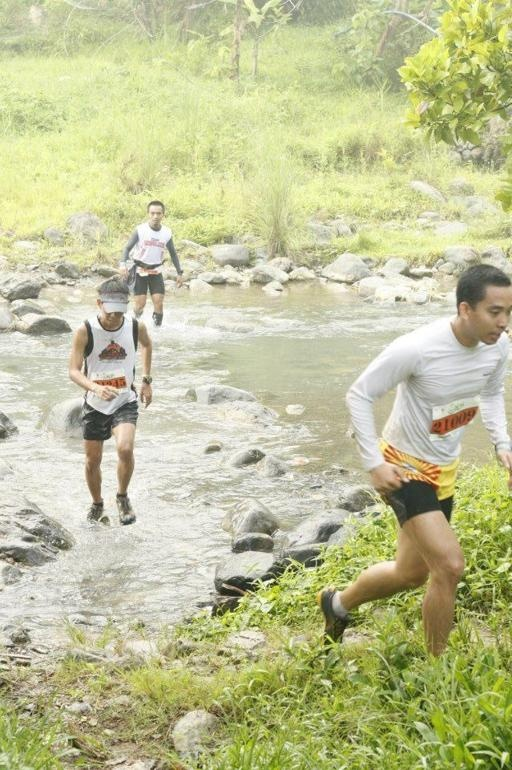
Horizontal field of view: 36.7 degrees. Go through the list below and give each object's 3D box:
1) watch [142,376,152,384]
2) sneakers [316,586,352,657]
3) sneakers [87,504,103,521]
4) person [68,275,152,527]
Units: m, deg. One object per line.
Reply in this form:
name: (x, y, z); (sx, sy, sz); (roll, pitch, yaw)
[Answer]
watch: (-0.878, -0.039, 6.123); (0.072, 0.057, 0.064); (-1, -3, 25)
sneakers: (0.348, 1.039, 3.420); (0.137, 0.278, 0.105); (2, 1, 30)
sneakers: (-1.216, 0.961, 5.787); (0.113, 0.141, 0.099); (13, 11, 33)
person: (-1.054, 0.124, 5.691); (0.560, 1.821, 0.919); (-4, 10, -7)
